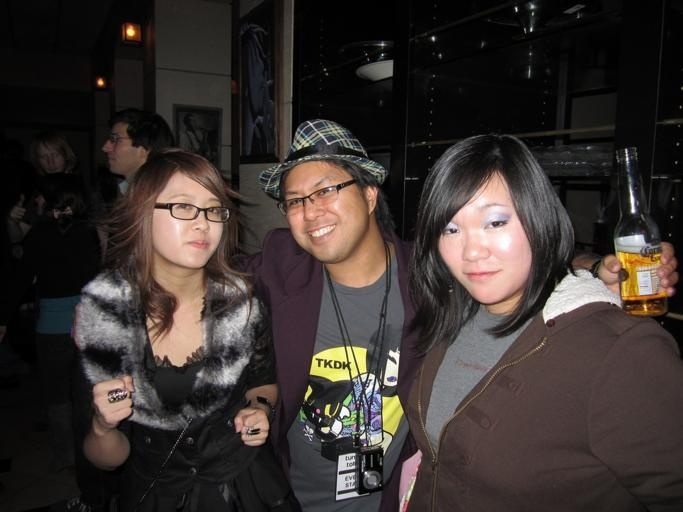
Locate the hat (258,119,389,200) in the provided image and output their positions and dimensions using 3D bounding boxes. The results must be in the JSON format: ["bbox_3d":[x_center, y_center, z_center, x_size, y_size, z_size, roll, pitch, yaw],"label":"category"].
[{"bbox_3d":[-0.026,-0.501,2.537,0.473,0.249,0.502,-20,-20,38],"label":"hat"}]

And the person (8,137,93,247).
[{"bbox_3d":[-2.216,-0.483,3.806,0.505,0.833,0.232,1,-7,9],"label":"person"}]

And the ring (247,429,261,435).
[{"bbox_3d":[-0.353,0.707,1.977,0.040,0.022,0.009,2,3,-19],"label":"ring"}]

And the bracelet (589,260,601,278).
[{"bbox_3d":[0.925,0.049,1.794,0.020,0.052,0.041,14,15,9],"label":"bracelet"}]

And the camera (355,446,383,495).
[{"bbox_3d":[0.130,0.945,2.182,0.126,0.197,0.063,-1,6,-9],"label":"camera"}]

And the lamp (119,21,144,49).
[{"bbox_3d":[-2.662,-2.836,6.243,0.214,0.277,0.245,-4,7,-31],"label":"lamp"}]
